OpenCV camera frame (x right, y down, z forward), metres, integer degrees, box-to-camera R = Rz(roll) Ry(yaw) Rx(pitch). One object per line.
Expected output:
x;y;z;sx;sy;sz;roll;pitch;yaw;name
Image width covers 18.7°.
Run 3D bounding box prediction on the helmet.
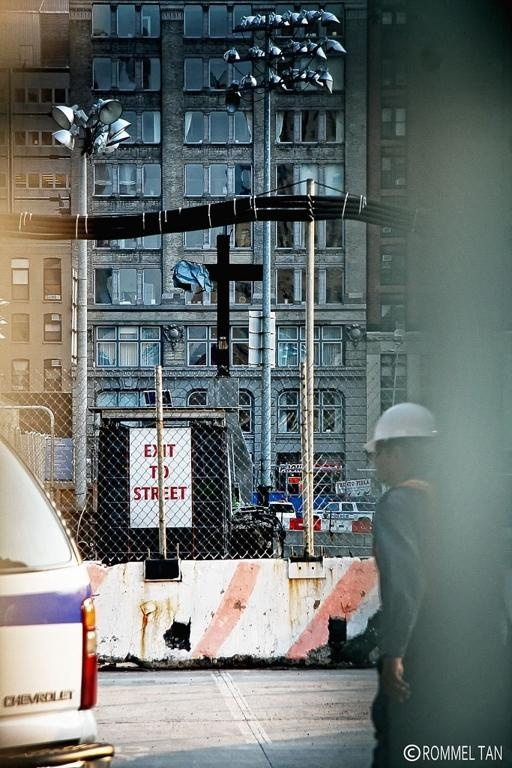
0.701;0.228;7.575;0.246;0.168;0.207;-3;0;40;helmet
